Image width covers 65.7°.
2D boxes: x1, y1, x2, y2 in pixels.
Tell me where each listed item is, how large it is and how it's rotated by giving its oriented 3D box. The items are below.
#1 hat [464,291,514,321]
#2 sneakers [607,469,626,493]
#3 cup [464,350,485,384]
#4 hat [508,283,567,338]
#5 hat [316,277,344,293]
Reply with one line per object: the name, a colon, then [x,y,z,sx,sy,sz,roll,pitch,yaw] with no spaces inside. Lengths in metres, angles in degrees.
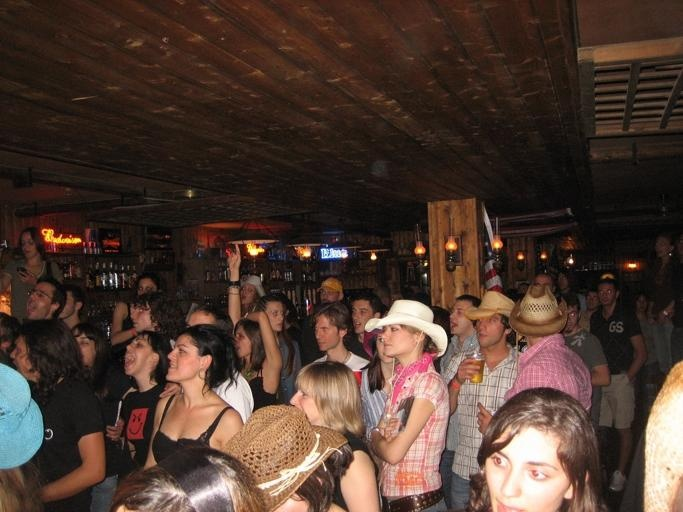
hat: [1.123,0.367,3.993,0.338,0.119,0.232,11,-29,-38]
sneakers: [2.686,2.216,5.198,0.128,0.109,0.296,-20,-15,38]
cup: [0.911,0.758,3.583,0.104,0.213,0.142,-5,0,13]
hat: [1.399,0.328,3.776,0.477,0.204,0.586,2,19,17]
hat: [-0.145,0.414,7.220,0.241,0.150,0.307,-3,-29,25]
